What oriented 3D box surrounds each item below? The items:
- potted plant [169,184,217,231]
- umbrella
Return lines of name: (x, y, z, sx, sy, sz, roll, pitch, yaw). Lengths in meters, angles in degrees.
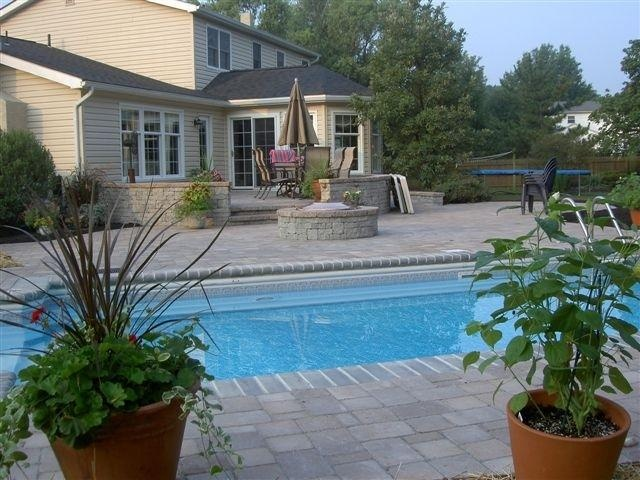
potted plant: (-2.975, -0.792, 11.011, 1.300, 1.391, 0.992, 0, 3, -13)
umbrella: (-0.705, -3.536, 14.974, 1.143, 3.252, 2.158, -1, 9, -2)
